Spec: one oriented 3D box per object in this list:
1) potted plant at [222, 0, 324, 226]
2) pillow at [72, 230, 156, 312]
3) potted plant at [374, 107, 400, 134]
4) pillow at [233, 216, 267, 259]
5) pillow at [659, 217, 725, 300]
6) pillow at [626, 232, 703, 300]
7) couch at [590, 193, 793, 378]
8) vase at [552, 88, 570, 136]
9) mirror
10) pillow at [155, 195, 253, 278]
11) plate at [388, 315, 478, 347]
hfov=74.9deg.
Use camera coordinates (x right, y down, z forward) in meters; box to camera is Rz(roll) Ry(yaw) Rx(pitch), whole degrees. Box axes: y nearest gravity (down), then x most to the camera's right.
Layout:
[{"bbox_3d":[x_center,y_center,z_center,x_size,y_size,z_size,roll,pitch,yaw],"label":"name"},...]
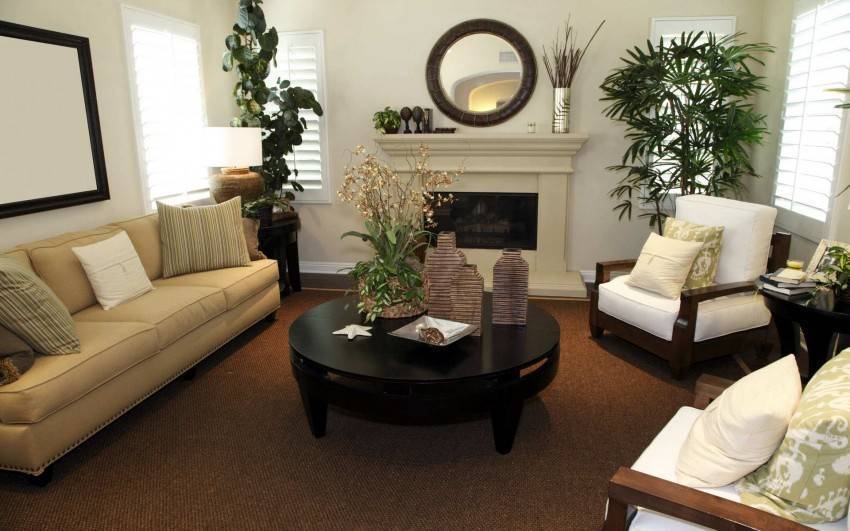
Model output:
[{"bbox_3d":[-1.687,-1.755,6.144,0.934,2.270,1.556,-4,19,1],"label":"potted plant"},{"bbox_3d":[-2.555,0.059,4.490,0.269,0.482,0.520,5,25,29],"label":"pillow"},{"bbox_3d":[-0.439,-1.661,6.366,0.315,0.288,0.298,-5,18,-3],"label":"potted plant"},{"bbox_3d":[-1.694,-0.273,5.402,0.107,0.345,0.355,-15,-13,41],"label":"pillow"},{"bbox_3d":[2.212,-0.030,4.575,0.271,0.484,0.519,-28,31,-28],"label":"pillow"},{"bbox_3d":[1.994,0.003,4.620,0.174,0.510,0.520,24,3,-39],"label":"pillow"},{"bbox_3d":[2.308,0.012,5.246,1.647,1.759,1.262,-7,14,-24],"label":"couch"},{"bbox_3d":[1.475,-1.683,6.025,0.173,0.475,0.197,0,19,10],"label":"vase"},{"bbox_3d":[0.668,-2.204,6.243,1.240,1.260,0.088,1,12,6],"label":"mirror"},{"bbox_3d":[-2.045,-0.233,5.098,0.734,0.681,0.278,-9,-4,-26],"label":"pillow"},{"bbox_3d":[0.067,0.447,3.865,0.291,0.064,0.307,6,18,23],"label":"plate"}]
